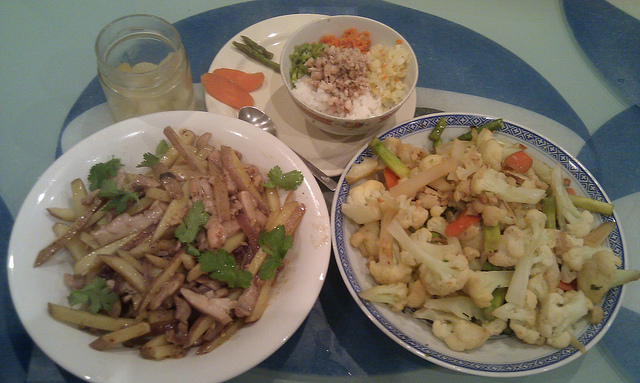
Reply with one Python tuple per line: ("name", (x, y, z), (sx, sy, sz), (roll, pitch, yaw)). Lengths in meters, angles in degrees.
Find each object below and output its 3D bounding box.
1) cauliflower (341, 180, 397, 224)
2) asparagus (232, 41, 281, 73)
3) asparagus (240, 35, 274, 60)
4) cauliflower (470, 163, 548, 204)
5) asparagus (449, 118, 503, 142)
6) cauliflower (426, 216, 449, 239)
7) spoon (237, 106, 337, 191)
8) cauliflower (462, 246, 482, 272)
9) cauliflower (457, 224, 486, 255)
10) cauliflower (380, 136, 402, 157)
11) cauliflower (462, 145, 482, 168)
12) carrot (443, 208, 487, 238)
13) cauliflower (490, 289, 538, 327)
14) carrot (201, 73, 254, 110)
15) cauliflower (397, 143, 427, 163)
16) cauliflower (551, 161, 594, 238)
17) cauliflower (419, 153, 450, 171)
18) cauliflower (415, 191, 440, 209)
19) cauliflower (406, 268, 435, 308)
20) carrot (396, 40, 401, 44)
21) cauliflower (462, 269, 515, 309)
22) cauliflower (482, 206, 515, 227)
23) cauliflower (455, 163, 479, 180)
("cauliflower", (0.315, 0.066, 3.628), (0.312, 0.100, 0.302), (-28, 72, -18))
("asparagus", (-0.509, -1.075, 4.105), (0.417, 0.352, 0.219), (6, 105, 28))
("asparagus", (-0.521, -1.157, 4.126), (0.291, 0.057, 0.064), (34, 54, -7))
("cauliflower", (1.291, -0.010, 3.576), (0.488, 0.124, 0.258), (29, 76, 6))
("asparagus", (1.193, -0.455, 3.806), (0.340, 0.091, 0.074), (-20, 77, -7))
("cauliflower", (0.832, 0.241, 3.597), (0.147, 0.063, 0.142), (22, 49, 7))
("spoon", (-0.237, -0.362, 3.896), (0.952, 0.079, 0.167), (38, 77, 8))
("cauliflower", (1.060, 0.455, 3.604), (0.109, 0.052, 0.179), (-24, 108, -28))
("cauliflower", (1.066, 0.324, 3.622), (0.203, 0.059, 0.194), (-14, 110, 4))
("cauliflower", (0.532, -0.331, 3.747), (0.149, 0.040, 0.133), (-2, 75, -24))
("cauliflower", (1.087, -0.248, 3.661), (0.135, 0.050, 0.130), (-30, 72, -12))
("carrot", (0.989, 0.215, 3.540), (0.247, 0.064, 0.133), (-32, 67, -8))
("cauliflower", (1.327, 0.760, 3.478), (0.325, 0.088, 0.237), (13, 75, 2))
("carrot", (-0.718, -0.768, 3.962), (0.412, 0.149, 0.190), (32, 77, 7))
("cauliflower", (0.675, -0.282, 3.745), (0.169, 0.064, 0.141), (3, 74, -3))
("cauliflower", (1.754, 0.072, 3.634), (0.279, 0.123, 0.532), (-27, 77, -8))
("cauliflower", (0.814, -0.215, 3.684), (0.162, 0.053, 0.116), (-21, 36, 13))
("cauliflower", (0.754, 0.045, 3.606), (0.129, 0.118, 0.058), (9, 108, 9))
("cauliflower", (0.667, 0.681, 3.580), (0.080, 0.294, 0.263), (-35, 104, 16))
("carrot", (0.608, -1.157, 3.971), (0.037, 0.009, 0.035), (0, 93, 38))
("cauliflower", (1.120, 0.643, 3.483), (0.327, 0.140, 0.203), (-28, 94, -36))
("cauliflower", (1.189, 0.165, 3.450), (0.178, 0.078, 0.127), (21, 89, 6))
("cauliflower", (1.029, -0.144, 3.609), (0.144, 0.036, 0.089), (-33, 78, -6))
